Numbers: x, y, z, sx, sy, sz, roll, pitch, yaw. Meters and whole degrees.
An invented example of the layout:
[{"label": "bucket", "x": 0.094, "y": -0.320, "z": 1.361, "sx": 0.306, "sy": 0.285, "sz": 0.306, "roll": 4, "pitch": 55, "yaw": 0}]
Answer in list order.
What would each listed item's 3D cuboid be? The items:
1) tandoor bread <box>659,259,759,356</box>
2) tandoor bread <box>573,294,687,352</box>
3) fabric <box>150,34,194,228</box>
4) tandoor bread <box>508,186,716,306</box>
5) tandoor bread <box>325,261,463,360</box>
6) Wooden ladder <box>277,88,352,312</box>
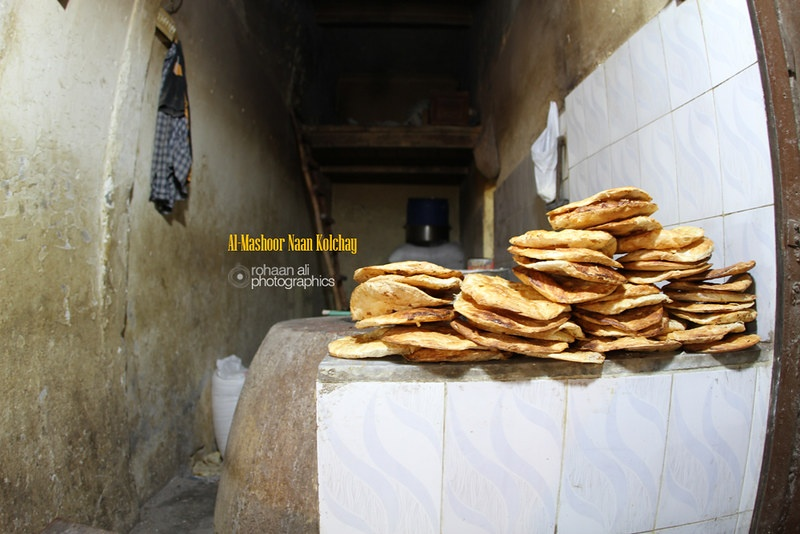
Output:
[{"label": "tandoor bread", "x": 1.371, "y": 0.190, "z": 3.219, "sx": 0.394, "sy": 0.371, "sz": 0.398, "roll": 0, "pitch": -6, "yaw": 11}, {"label": "tandoor bread", "x": 0.962, "y": 0.264, "z": 3.057, "sx": 0.297, "sy": 0.135, "sz": 0.305, "roll": -1, "pitch": -5, "yaw": -12}, {"label": "fabric", "x": -1.445, "y": -0.871, "z": 4.491, "sx": 0.191, "sy": 1.082, "sz": 0.369, "roll": -3, "pitch": -5, "yaw": 1}, {"label": "tandoor bread", "x": 0.867, "y": -0.082, "z": 3.062, "sx": 0.594, "sy": 0.324, "sz": 0.615, "roll": -8, "pitch": 4, "yaw": 20}, {"label": "tandoor bread", "x": 0.001, "y": 0.150, "z": 3.075, "sx": 0.446, "sy": 0.230, "sz": 0.461, "roll": -3, "pitch": 0, "yaw": 27}, {"label": "Wooden ladder", "x": -0.849, "y": -0.628, "z": 7.586, "sx": 0.476, "sy": 2.136, "sz": 1.390, "roll": -2, "pitch": -5, "yaw": -4}]
